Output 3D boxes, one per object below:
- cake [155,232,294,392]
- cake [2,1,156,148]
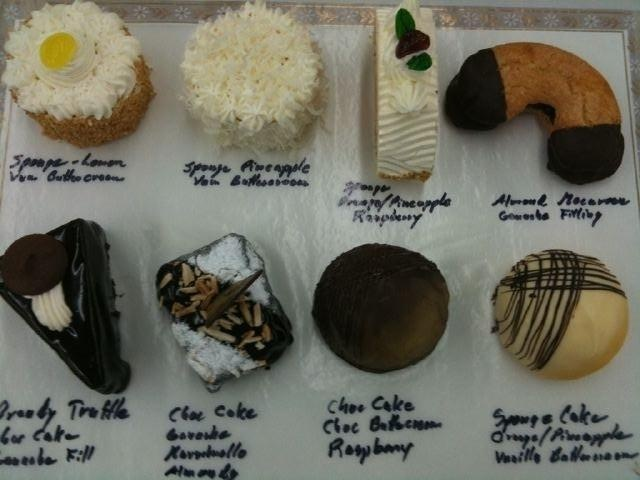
[{"bbox_3d":[-0.457,0.320,4.014,0.522,0.162,0.665,-28,80,-5],"label":"cake"},{"bbox_3d":[-1.149,-0.798,4.101,0.651,0.366,0.625,-20,78,-3],"label":"cake"}]
